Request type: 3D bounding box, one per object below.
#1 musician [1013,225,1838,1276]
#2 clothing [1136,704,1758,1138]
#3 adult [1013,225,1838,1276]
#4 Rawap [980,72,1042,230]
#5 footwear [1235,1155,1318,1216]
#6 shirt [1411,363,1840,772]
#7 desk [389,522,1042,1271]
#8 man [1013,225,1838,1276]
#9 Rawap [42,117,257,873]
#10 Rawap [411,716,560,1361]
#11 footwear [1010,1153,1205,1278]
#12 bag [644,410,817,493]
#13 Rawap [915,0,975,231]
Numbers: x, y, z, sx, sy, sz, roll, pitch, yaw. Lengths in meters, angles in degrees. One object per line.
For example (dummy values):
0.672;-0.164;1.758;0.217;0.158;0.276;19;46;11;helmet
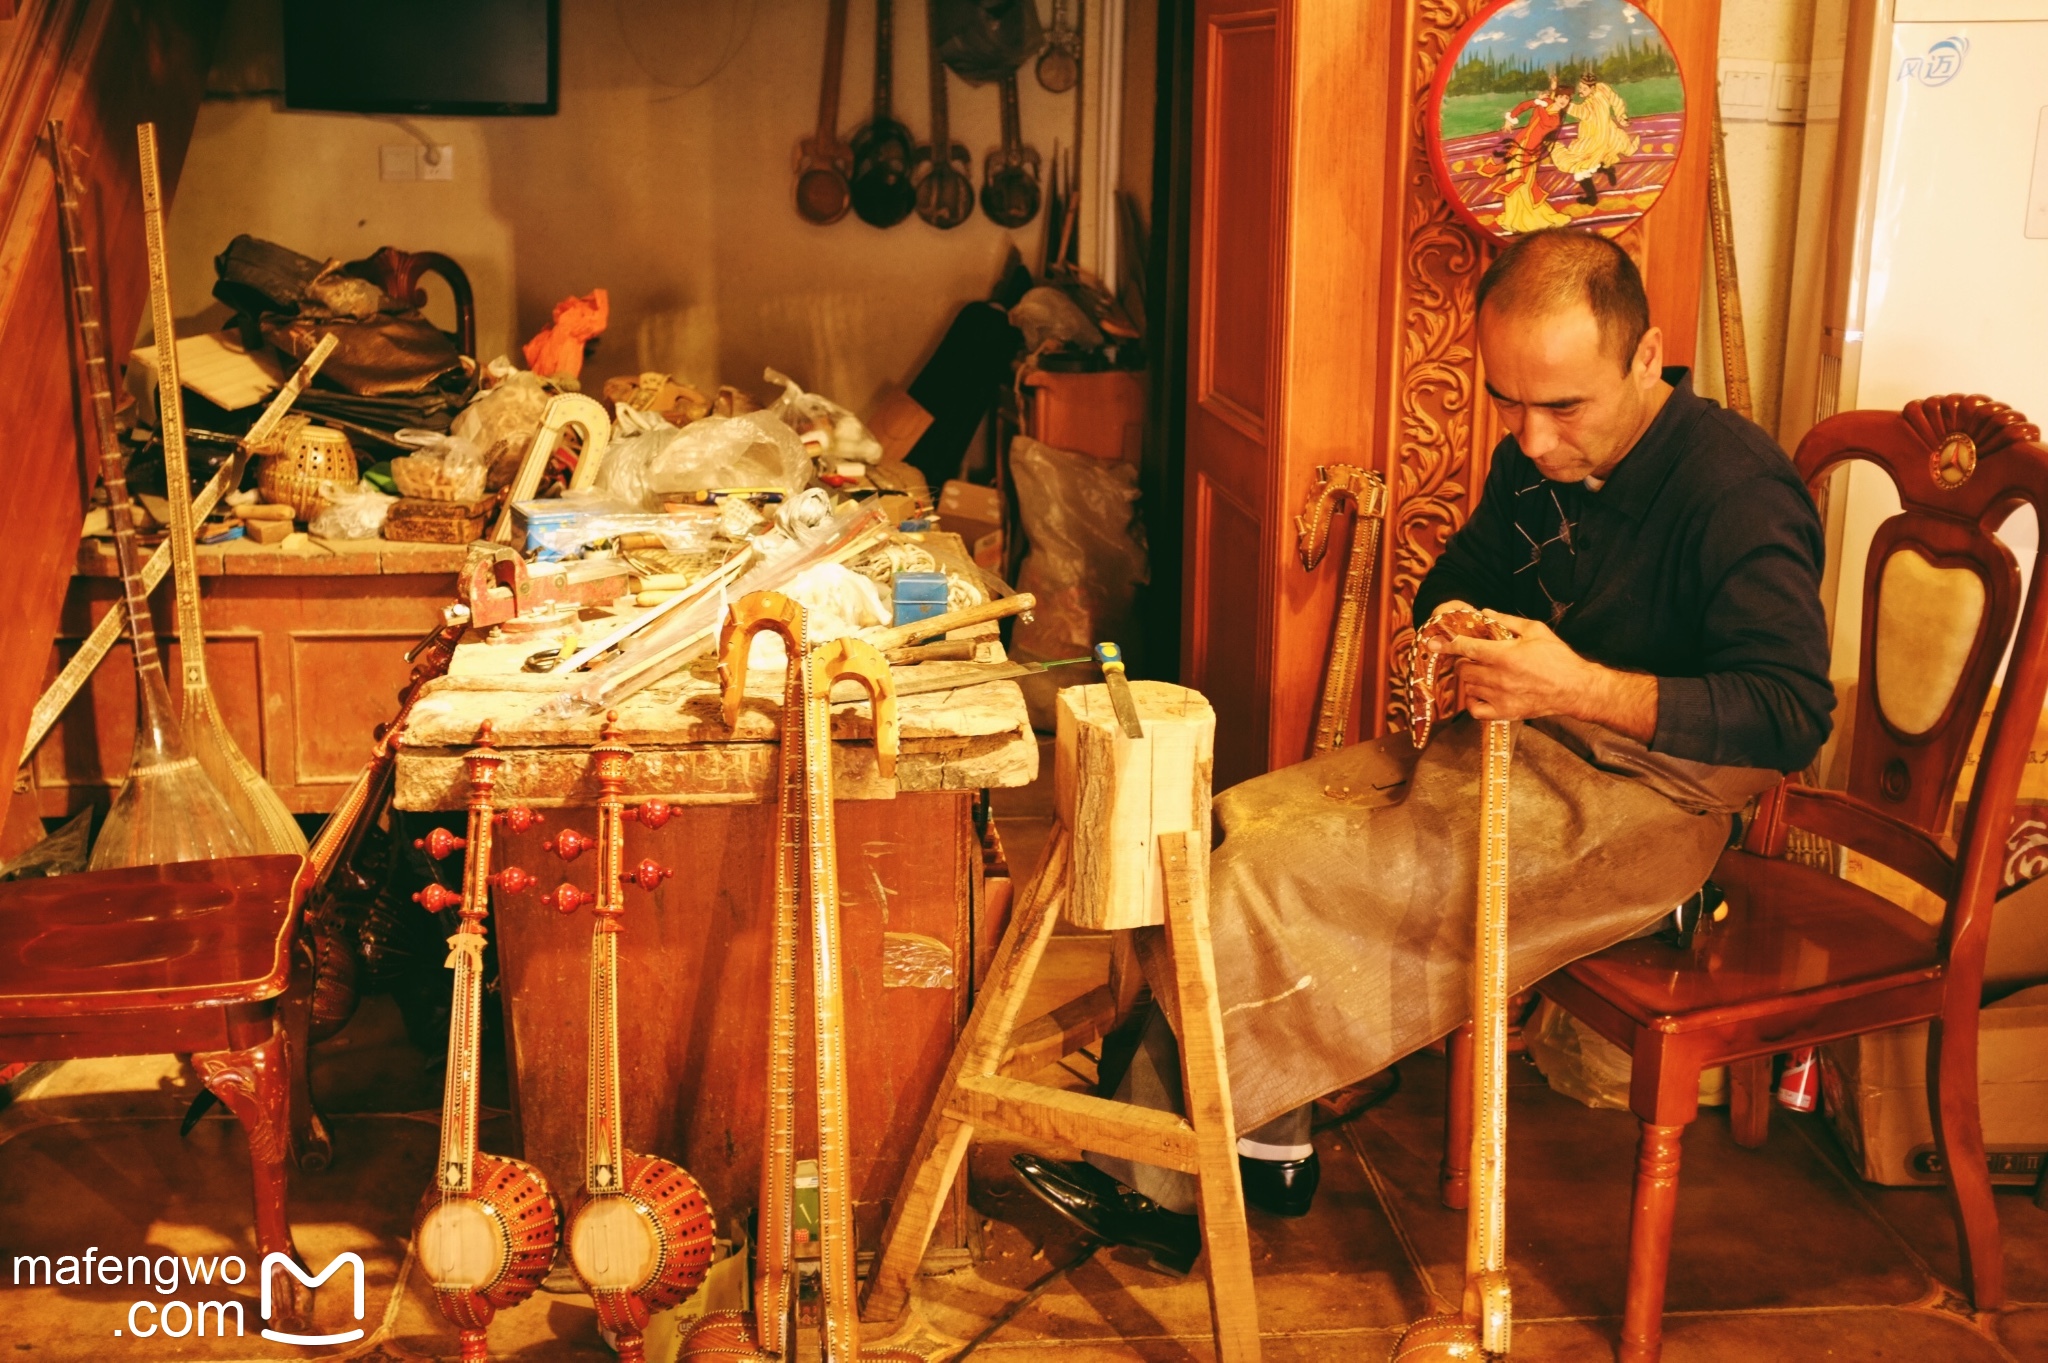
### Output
0.854;0.128;3.945;1.812;2.075;1.160;-8;20;-12;musician
0.855;0.432;3.863;1.298;0.381;0.766;-24;1;-2;clothing
0.880;0.147;3.897;1.810;2.100;1.126;-6;18;-19;adult
-0.043;-2.134;7.201;0.248;0.584;0.117;0;9;-6;Rawap
0.588;1.136;4.122;0.197;0.131;0.164;-4;1;7;footwear
1.319;-0.298;3.997;0.722;0.795;1.233;-12;19;-25;shirt
-0.356;0.820;4.045;1.107;1.107;1.284;1;-29;31;desk
0.960;0.182;3.865;1.410;2.264;0.619;1;9;-1;man
-2.468;-0.513;4.810;0.480;1.958;0.790;-5;11;-34;Rawap
-1.042;0.770;3.427;0.246;1.297;0.348;-2;10;-16;Rawap
0.219;1.186;4.047;0.520;0.203;0.155;37;-21;-24;footwear
-0.823;-0.706;5.320;0.507;0.233;0.620;-1;-2;6;bag
-0.310;-2.270;7.161;0.229;0.875;0.140;-6;11;-35;Rawap
